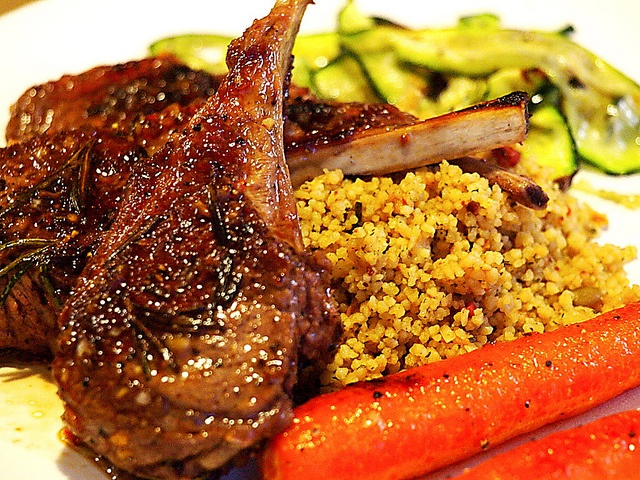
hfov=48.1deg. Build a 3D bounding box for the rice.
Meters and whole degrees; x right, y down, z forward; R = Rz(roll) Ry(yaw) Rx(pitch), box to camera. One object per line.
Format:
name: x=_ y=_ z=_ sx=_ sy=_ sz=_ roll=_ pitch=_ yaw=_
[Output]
rice: x=0.638 y=0.128 z=3.838 sx=1.509 sy=1.146 sz=1.341 roll=-8 pitch=19 yaw=-33
